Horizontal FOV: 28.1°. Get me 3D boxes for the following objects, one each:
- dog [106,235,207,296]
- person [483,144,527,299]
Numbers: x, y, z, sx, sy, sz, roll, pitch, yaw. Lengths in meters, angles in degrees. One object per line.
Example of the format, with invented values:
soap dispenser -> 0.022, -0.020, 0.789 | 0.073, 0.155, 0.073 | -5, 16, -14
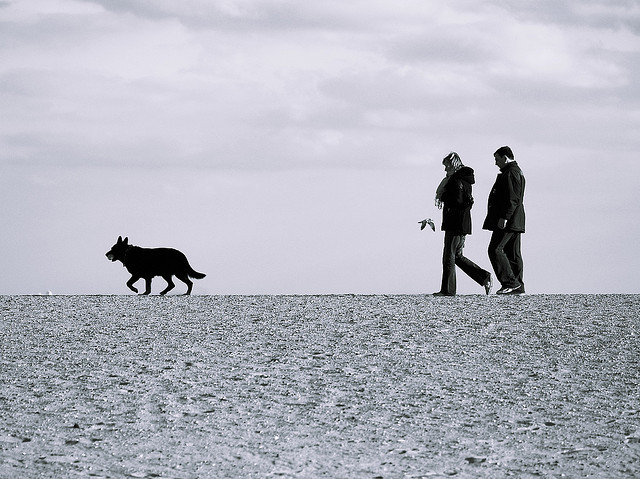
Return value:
dog -> -2.219, 0.391, 16.999 | 1.138, 0.630, 0.641 | 5, 6, 33
person -> 2.198, -0.222, 14.859 | 0.491, 1.689, 0.412 | 0, 5, -14
